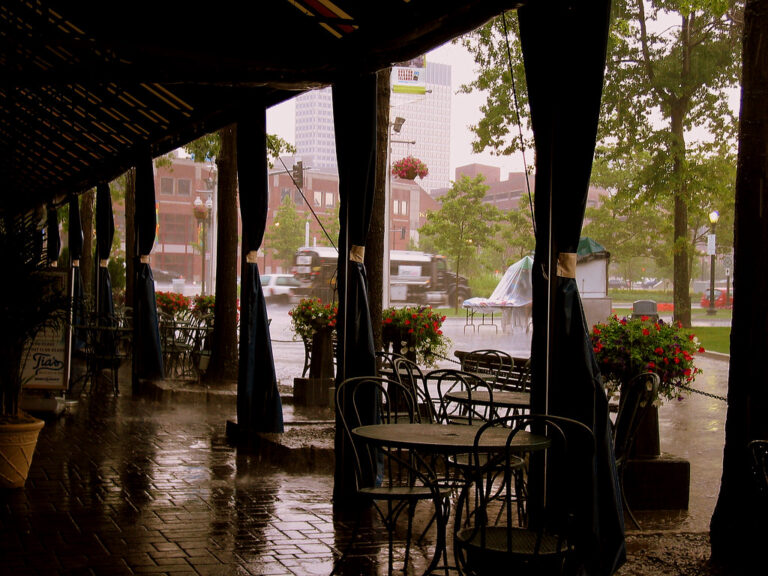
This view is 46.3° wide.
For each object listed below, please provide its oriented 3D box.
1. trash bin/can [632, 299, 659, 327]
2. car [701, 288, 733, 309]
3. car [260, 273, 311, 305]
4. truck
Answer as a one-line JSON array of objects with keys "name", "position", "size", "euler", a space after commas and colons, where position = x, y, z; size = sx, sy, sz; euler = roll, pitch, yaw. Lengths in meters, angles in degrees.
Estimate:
[{"name": "trash bin/can", "position": [5.183, 0.454, 17.753], "size": [0.420, 0.848, 0.413], "euler": [-1, -6, 23]}, {"name": "car", "position": [18.246, 0.582, 49.041], "size": [0.946, 0.983, 1.685], "euler": [2, 6, 40]}, {"name": "car", "position": [-4.604, 0.057, 42.923], "size": [2.757, 1.169, 1.288], "euler": [-3, 3, -39]}, {"name": "truck", "position": [1.259, -0.580, 48.136], "size": [11.726, 4.525, 3.484], "euler": [-1, 2, -31]}]
